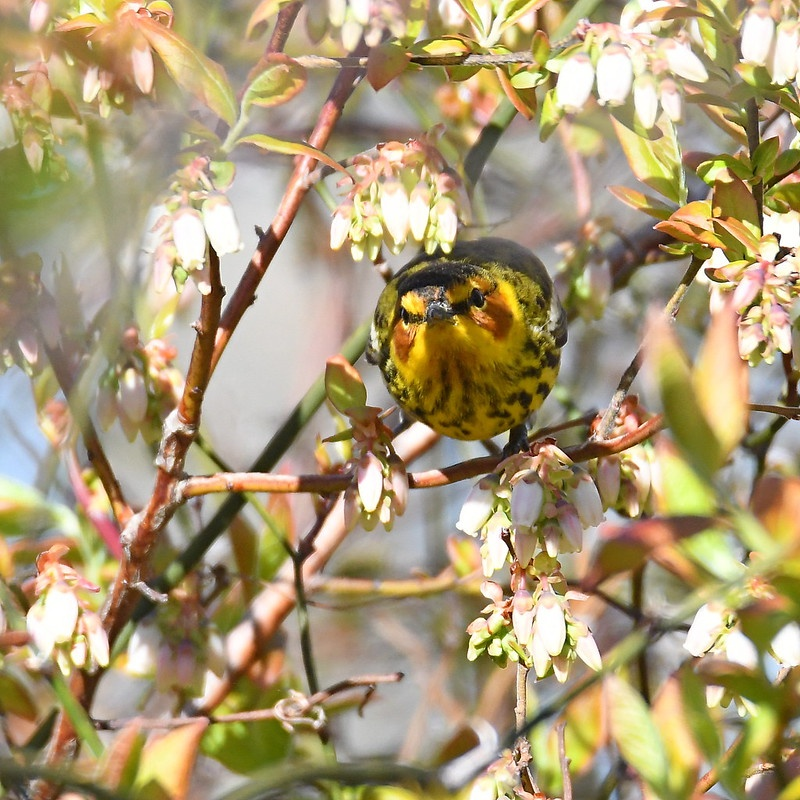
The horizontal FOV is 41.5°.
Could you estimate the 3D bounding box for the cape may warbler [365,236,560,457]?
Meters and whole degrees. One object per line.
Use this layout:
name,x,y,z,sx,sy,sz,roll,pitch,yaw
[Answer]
cape may warbler,0.207,-0.181,2.850,0.454,0.577,0.803,-3,25,19
